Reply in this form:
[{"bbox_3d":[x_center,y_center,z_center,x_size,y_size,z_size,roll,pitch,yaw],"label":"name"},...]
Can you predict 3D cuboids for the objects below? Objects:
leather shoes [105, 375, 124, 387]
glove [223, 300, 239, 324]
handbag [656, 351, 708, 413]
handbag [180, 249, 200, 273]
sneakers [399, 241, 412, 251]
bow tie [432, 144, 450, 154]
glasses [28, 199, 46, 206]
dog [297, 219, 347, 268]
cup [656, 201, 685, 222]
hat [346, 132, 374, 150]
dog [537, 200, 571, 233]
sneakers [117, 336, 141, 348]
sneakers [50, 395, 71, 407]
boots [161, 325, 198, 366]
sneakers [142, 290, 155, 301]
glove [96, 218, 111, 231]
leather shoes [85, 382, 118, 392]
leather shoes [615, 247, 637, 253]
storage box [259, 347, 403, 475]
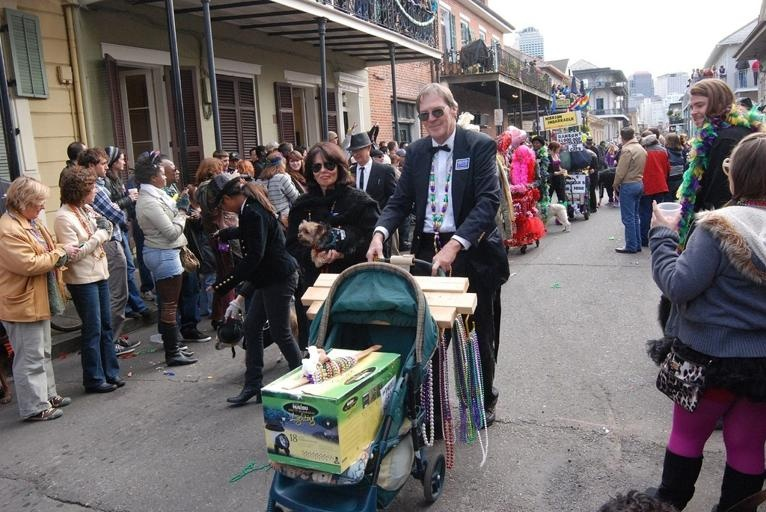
[{"bbox_3d":[-2.980,1.396,6.177,0.191,0.080,0.074,1,4,12],"label":"leather shoes"},{"bbox_3d":[-1.479,0.559,5.478,0.139,0.193,0.056,1,-23,35],"label":"glove"},{"bbox_3d":[1.793,0.751,3.332,0.133,0.336,0.339,-7,11,-7],"label":"handbag"},{"bbox_3d":[-2.480,0.087,7.014,0.095,0.293,0.190,-18,18,22],"label":"handbag"},{"bbox_3d":[0.394,-0.172,10.052,0.168,0.121,0.170,-2,-4,2],"label":"sneakers"},{"bbox_3d":[0.489,-0.901,4.688,0.208,0.089,0.046,-1,4,11],"label":"bow tie"},{"bbox_3d":[-3.420,-0.530,5.499,0.070,0.049,0.093,-14,2,27],"label":"glasses"},{"bbox_3d":[-0.568,-0.142,5.535,0.313,0.432,0.592,16,20,38],"label":"dog"},{"bbox_3d":[1.822,-0.285,3.556,0.140,0.113,0.150,-2,7,0],"label":"cup"},{"bbox_3d":[-0.352,-1.713,8.354,0.332,0.136,0.261,-10,25,15],"label":"hat"},{"bbox_3d":[4.420,-1.011,14.483,0.626,0.286,1.113,-14,29,5],"label":"dog"},{"bbox_3d":[-3.379,1.123,7.257,0.364,0.156,0.121,1,8,-7],"label":"sneakers"},{"bbox_3d":[-3.353,1.509,5.777,0.159,0.073,0.090,2,13,3],"label":"sneakers"},{"bbox_3d":[-2.493,1.061,6.756,0.410,0.503,0.272,-3,7,-11],"label":"boots"},{"bbox_3d":[-3.822,0.642,9.050,0.120,0.131,0.302,-1,-5,-38],"label":"sneakers"},{"bbox_3d":[-3.105,-0.349,6.152,0.105,0.147,0.196,-3,-1,21],"label":"glove"},{"bbox_3d":[-3.085,1.440,6.123,0.326,0.123,0.128,-2,6,-5],"label":"leather shoes"},{"bbox_3d":[4.897,-0.138,11.228,0.128,0.142,0.347,-10,15,-42],"label":"leather shoes"},{"bbox_3d":[-0.334,0.990,3.731,0.642,0.458,0.873,4,10,31],"label":"storage box"}]
